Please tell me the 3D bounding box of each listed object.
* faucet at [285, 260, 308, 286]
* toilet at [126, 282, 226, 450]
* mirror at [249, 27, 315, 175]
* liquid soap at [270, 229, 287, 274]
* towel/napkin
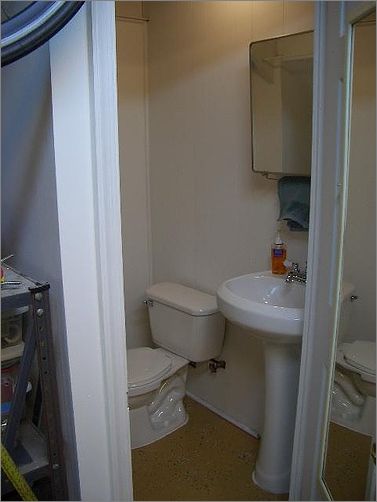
[{"bbox_3d":[0.436,0.087,1.699,0.108,0.137,0.070,-1,2,15],"label":"faucet"},{"bbox_3d":[-0.186,0.605,2.158,0.580,0.732,0.396,-11,19,-42],"label":"toilet"},{"bbox_3d":[0.345,-0.540,1.581,0.262,0.504,0.142,3,10,29],"label":"mirror"},{"bbox_3d":[0.381,0.016,1.766,0.058,0.153,0.062,1,9,17],"label":"liquid soap"},{"bbox_3d":[0.419,-0.193,1.661,0.053,0.195,0.168,0,10,-16],"label":"towel/napkin"}]
